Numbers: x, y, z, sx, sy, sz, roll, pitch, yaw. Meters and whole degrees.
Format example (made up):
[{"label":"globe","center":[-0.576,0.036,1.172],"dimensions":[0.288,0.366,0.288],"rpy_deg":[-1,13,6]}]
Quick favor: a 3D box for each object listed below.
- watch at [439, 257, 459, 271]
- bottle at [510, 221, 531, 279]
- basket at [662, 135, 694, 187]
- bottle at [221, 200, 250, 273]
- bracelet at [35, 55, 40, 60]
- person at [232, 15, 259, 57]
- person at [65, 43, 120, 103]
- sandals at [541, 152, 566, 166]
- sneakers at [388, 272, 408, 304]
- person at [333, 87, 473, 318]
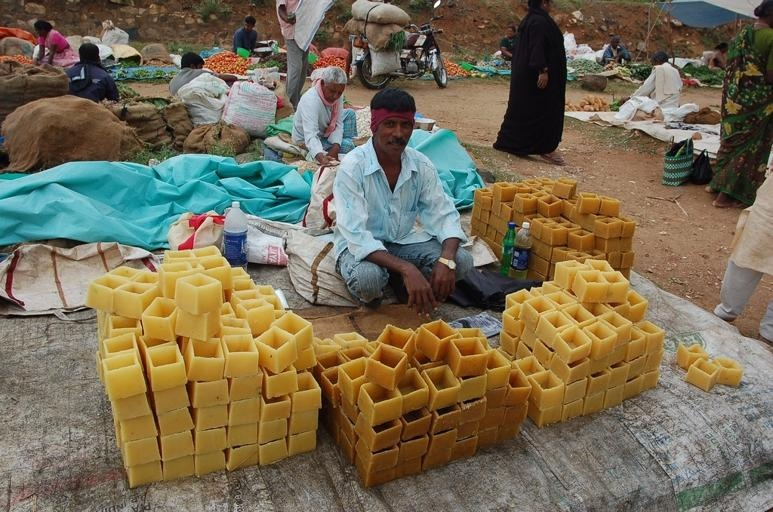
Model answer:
[{"label":"watch","center":[0.463,0.037,4.277],"dimensions":[0.104,0.099,0.097],"rpy_deg":[-13,25,-13]},{"label":"bottle","center":[1.132,-0.055,4.806],"dimensions":[0.159,0.479,0.167],"rpy_deg":[5,29,-3]},{"label":"basket","center":[4.125,-1.300,8.166],"dimensions":[0.414,0.730,0.734],"rpy_deg":[5,26,36]},{"label":"bottle","center":[-1.182,-0.138,4.505],"dimensions":[0.192,0.601,0.364],"rpy_deg":[-3,30,-15]},{"label":"bracelet","center":[-6.532,-3.700,10.781],"dimensions":[0.095,0.025,0.100],"rpy_deg":[2,53,-9]},{"label":"person","center":[-3.252,-5.095,13.239],"dimensions":[0.557,0.834,1.375],"rpy_deg":[-2,29,-14]},{"label":"person","center":[-3.766,-2.326,7.389],"dimensions":[0.565,0.624,0.805],"rpy_deg":[-7,31,-24]},{"label":"sandals","center":[2.506,-1.466,8.732],"dimensions":[0.287,0.144,0.415],"rpy_deg":[6,2,35]},{"label":"sneakers","center":[0.089,0.250,4.559],"dimensions":[0.164,0.231,0.071],"rpy_deg":[5,14,44]},{"label":"person","center":[0.109,-0.390,4.328],"dimensions":[1.033,1.550,0.931],"rpy_deg":[12,29,11]}]
